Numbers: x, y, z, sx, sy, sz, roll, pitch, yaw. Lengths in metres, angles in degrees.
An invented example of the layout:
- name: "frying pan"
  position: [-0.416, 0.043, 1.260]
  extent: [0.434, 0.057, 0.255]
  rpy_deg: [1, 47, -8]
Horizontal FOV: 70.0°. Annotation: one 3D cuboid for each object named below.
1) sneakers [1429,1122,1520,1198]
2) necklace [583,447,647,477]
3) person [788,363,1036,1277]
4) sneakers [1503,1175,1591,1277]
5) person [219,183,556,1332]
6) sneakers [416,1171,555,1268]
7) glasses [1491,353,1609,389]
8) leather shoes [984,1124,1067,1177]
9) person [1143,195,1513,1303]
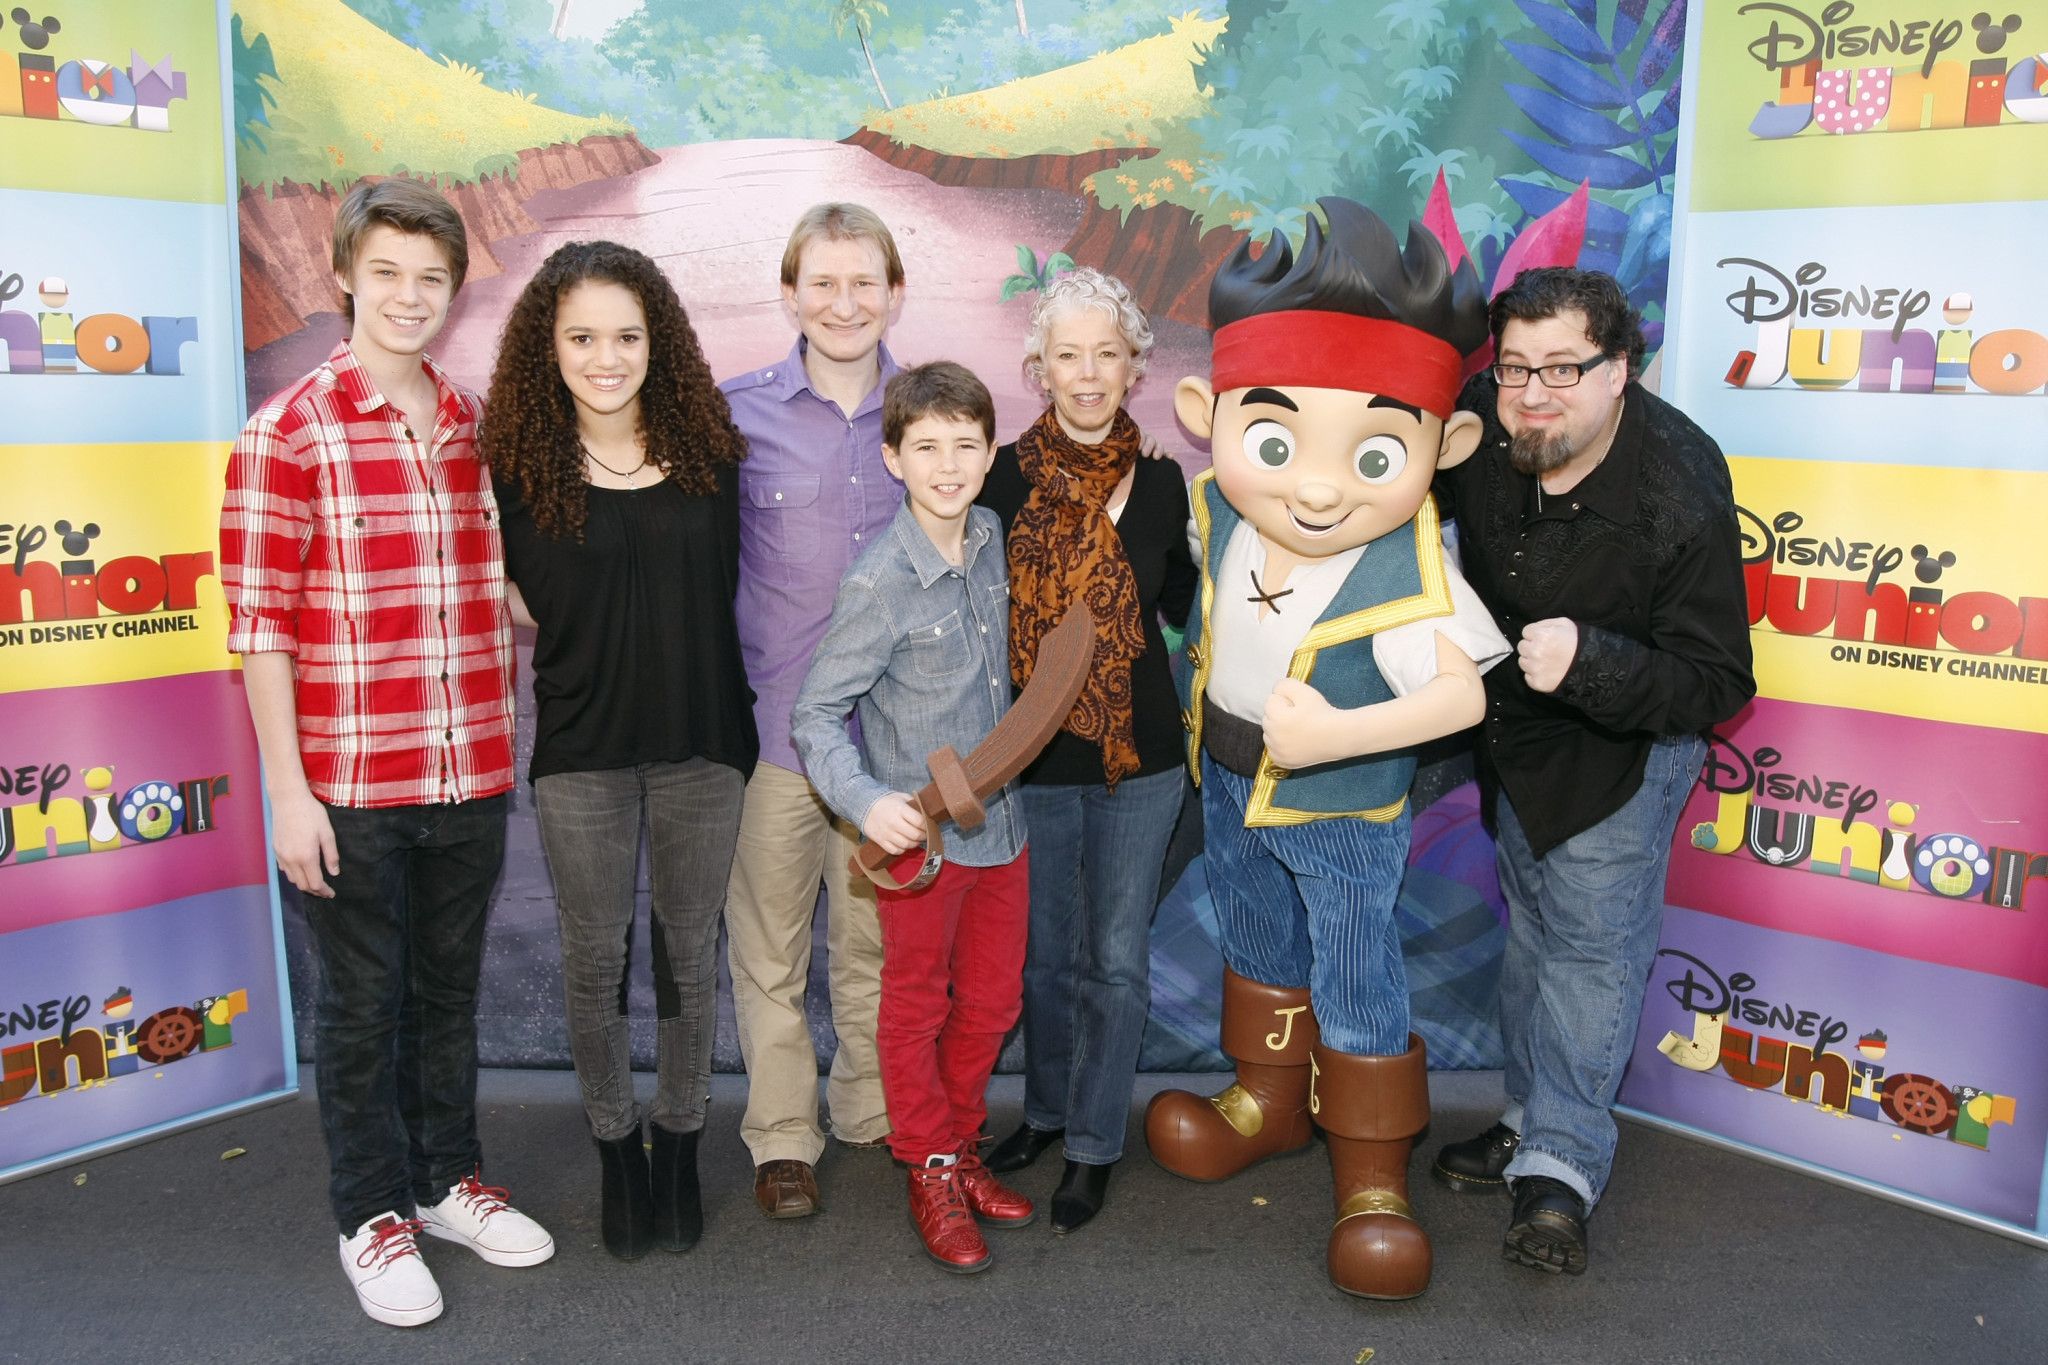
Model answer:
- name: "sneakers"
  position: [1.243, 1.296, 3.969]
  extent: [0.283, 0.133, 0.107]
  rpy_deg: [3, 3, -32]
- name: "necklace"
  position: [-0.988, -0.521, 3.497]
  extent: [0.129, 0.054, 0.033]
  rpy_deg: [0, 15, -2]
- name: "person"
  position: [-0.269, 0.335, 3.611]
  extent: [0.583, 2.173, 0.627]
  rpy_deg: [-3, 16, -12]
- name: "sneakers"
  position: [1.353, 1.354, 3.725]
  extent: [0.198, 0.196, 0.225]
  rpy_deg: [7, 16, 21]
- name: "person"
  position: [-1.481, 0.182, 3.438]
  extent: [0.601, 2.620, 0.590]
  rpy_deg: [-10, 18, -33]
- name: "sneakers"
  position: [-1.344, 1.358, 3.651]
  extent: [0.427, 0.164, 0.158]
  rpy_deg: [8, 31, 27]
- name: "glasses"
  position: [1.280, -0.749, 3.528]
  extent: [0.244, 0.075, 0.066]
  rpy_deg: [5, 16, 15]
- name: "leather shoes"
  position: [-0.006, 1.284, 4.065]
  extent: [0.260, 0.093, 0.102]
  rpy_deg: [-2, 19, -28]
- name: "person"
  position: [0.732, 0.161, 3.582]
  extent: [0.829, 2.576, 0.659]
  rpy_deg: [5, 16, 18]
